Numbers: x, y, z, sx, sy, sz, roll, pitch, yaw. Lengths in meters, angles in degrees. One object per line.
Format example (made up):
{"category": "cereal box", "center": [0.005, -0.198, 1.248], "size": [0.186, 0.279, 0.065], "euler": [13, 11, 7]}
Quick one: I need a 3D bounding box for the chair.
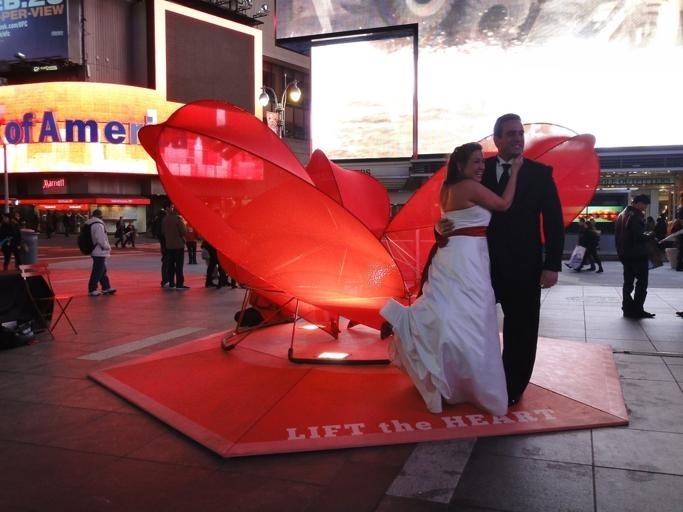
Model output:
{"category": "chair", "center": [-4.679, 0.695, 8.492], "size": [0.552, 0.971, 0.691], "euler": [8, 1, 43]}

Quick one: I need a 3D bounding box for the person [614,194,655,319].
{"category": "person", "center": [5.430, 0.044, 9.362], "size": [0.926, 2.229, 0.770], "euler": [4, -1, -34]}

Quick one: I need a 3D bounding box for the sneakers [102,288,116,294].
{"category": "sneakers", "center": [-5.520, 0.827, 12.150], "size": [0.282, 0.113, 0.366], "euler": [-4, 7, -23]}

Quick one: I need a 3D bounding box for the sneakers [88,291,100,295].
{"category": "sneakers", "center": [-5.697, 0.855, 11.813], "size": [0.197, 0.092, 0.209], "euler": [-6, 8, -35]}

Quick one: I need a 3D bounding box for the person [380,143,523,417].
{"category": "person", "center": [1.047, 0.190, 4.791], "size": [1.141, 2.451, 0.678], "euler": [1, 7, 18]}
